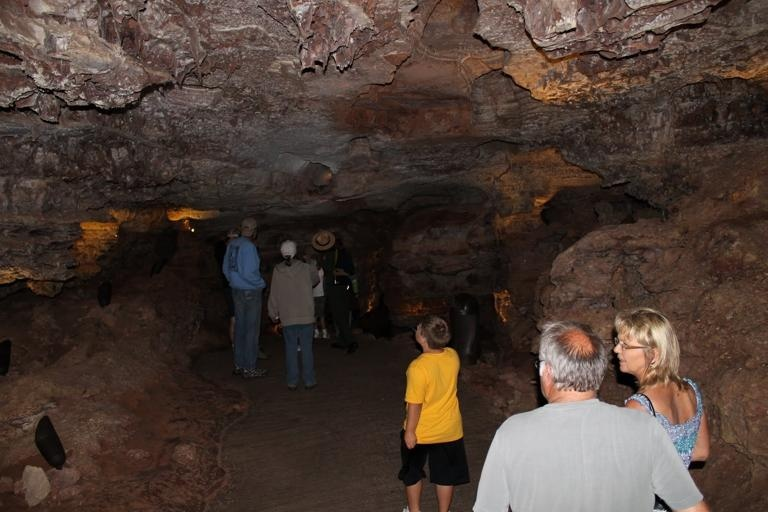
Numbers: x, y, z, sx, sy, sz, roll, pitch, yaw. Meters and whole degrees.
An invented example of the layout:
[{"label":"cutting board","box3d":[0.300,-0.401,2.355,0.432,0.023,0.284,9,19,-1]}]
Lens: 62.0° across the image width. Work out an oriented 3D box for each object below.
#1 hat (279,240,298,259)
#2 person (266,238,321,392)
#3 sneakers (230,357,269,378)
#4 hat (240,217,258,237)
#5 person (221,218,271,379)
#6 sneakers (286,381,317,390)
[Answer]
[{"label":"hat","box3d":[-1.394,-0.100,9.464,0.310,0.283,0.367,-1,21,-3]},{"label":"person","box3d":[-1.388,0.830,9.414,0.631,1.641,0.508,-2,-1,-10]},{"label":"sneakers","box3d":[-2.130,1.839,10.243,0.638,0.229,0.196,-4,9,-17]},{"label":"hat","box3d":[-2.052,-0.419,9.613,0.199,0.225,0.302,-2,-1,-20]},{"label":"person","box3d":[-2.146,0.672,9.774,0.587,1.784,0.896,-2,-1,-13]},{"label":"sneakers","box3d":[-1.284,1.987,9.804,0.448,0.161,0.138,5,-13,-19]}]
